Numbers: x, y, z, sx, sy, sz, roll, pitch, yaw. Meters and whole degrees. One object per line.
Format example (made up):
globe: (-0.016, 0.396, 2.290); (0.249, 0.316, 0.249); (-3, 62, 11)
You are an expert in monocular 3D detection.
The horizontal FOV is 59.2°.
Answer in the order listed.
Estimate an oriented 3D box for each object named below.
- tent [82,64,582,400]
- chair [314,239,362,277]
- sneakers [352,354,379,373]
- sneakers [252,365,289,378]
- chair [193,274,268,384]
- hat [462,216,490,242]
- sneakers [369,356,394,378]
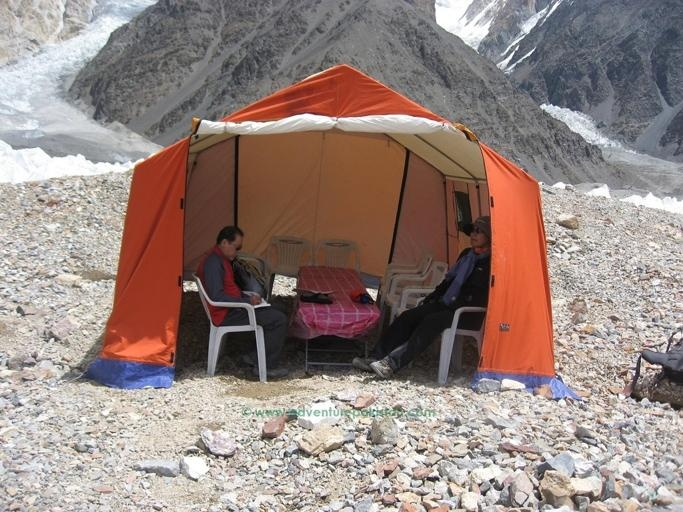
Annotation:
tent: (-0.213, -0.780, 8.740); (6.054, 3.458, 5.106); (2, 3, -6)
chair: (-0.072, 0.007, 9.749); (0.582, 0.729, 0.594); (1, 14, -6)
sneakers: (0.246, 1.209, 6.776); (0.126, 0.118, 0.335); (3, 5, -45)
sneakers: (-0.808, 1.264, 6.733); (0.442, 0.159, 0.134); (-1, 3, -13)
chair: (-1.229, 0.769, 6.767); (0.819, 0.937, 0.663); (2, 5, -12)
hat: (1.631, -0.332, 7.027); (0.360, 0.169, 0.219); (26, -23, -20)
sneakers: (0.449, 1.214, 6.621); (0.256, 0.229, 0.260); (7, 13, 3)
